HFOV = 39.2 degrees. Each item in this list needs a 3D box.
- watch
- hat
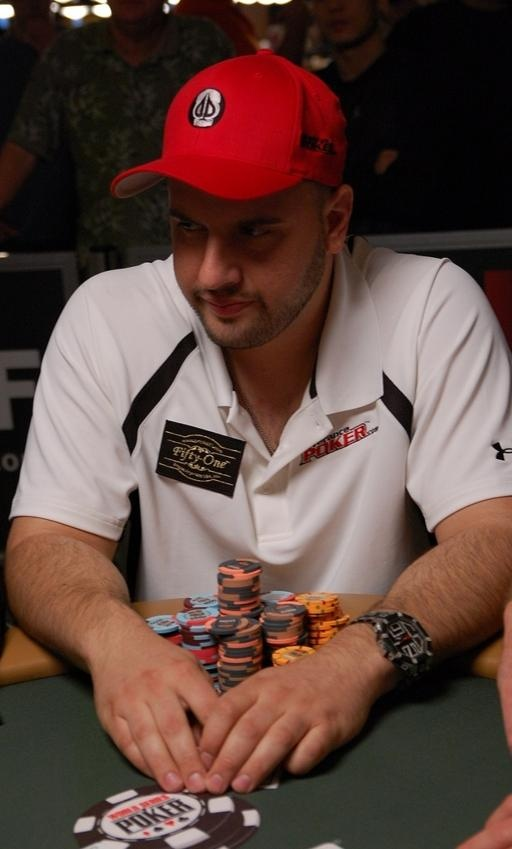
[{"bbox_3d":[0.206,0.346,1.104,0.074,0.090,0.094,-22,60,-27],"label":"watch"},{"bbox_3d":[-0.021,-0.528,1.398,0.437,0.249,0.295,-18,27,-41],"label":"hat"}]
